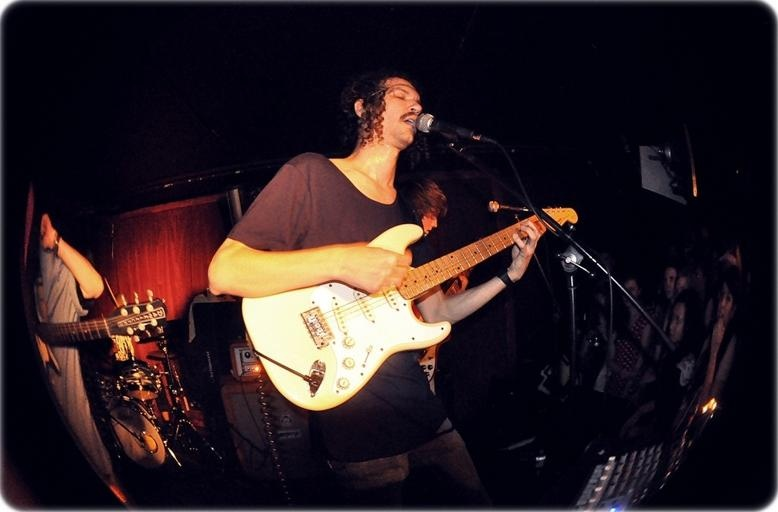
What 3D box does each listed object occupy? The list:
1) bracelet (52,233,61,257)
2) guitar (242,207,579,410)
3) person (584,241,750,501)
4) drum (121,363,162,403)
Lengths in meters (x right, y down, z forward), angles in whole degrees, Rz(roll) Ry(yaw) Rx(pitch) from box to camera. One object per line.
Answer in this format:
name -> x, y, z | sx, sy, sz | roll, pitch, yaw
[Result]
bracelet -> -1.939, -0.063, 3.370 | 0.024, 0.099, 0.070 | 10, -1, -33
guitar -> 0.160, 0.268, 3.261 | 1.752, 0.697, 0.218 | -25, 7, -20
person -> 1.876, 0.852, 3.899 | 1.140, 1.846, 0.263 | -1, 8, -19
drum -> -1.532, 0.727, 3.462 | 0.177, 0.181, 0.180 | -21, -24, 18
